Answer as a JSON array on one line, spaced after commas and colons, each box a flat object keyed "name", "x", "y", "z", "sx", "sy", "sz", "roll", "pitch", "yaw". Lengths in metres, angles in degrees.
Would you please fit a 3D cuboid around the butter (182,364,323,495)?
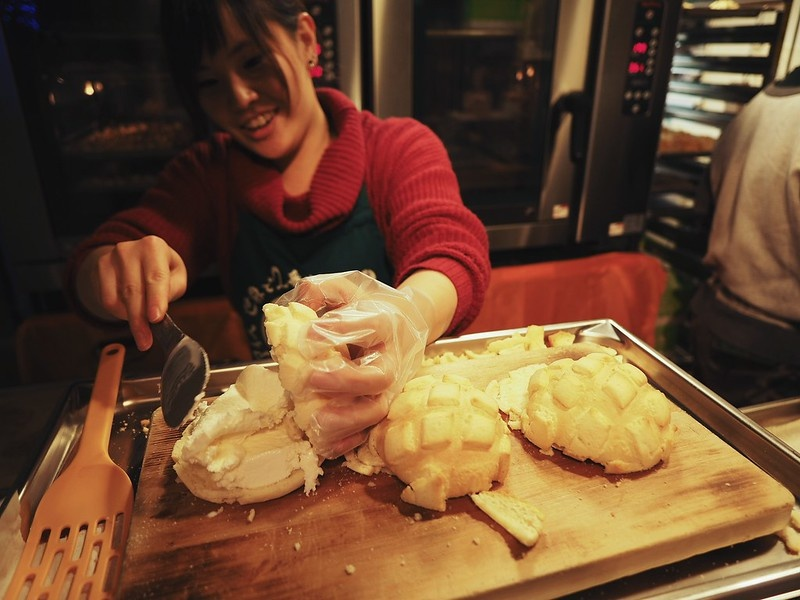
[{"name": "butter", "x": -0.353, "y": 0.289, "z": 1.424, "sx": 0.323, "sy": 0.141, "sz": 0.394, "roll": -3, "pitch": 31, "yaw": -11}]

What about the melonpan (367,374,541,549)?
[{"name": "melonpan", "x": 0.121, "y": 0.347, "z": 1.322, "sx": 0.242, "sy": 0.115, "sz": 0.354, "roll": -24, "pitch": 48, "yaw": -26}]

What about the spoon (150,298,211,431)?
[{"name": "spoon", "x": -0.498, "y": 0.142, "z": 1.392, "sx": 0.037, "sy": 0.121, "sz": 0.251, "roll": 20, "pitch": 34, "yaw": -53}]

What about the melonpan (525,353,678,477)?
[{"name": "melonpan", "x": 0.455, "y": 0.270, "z": 1.423, "sx": 0.269, "sy": 0.105, "sz": 0.260, "roll": 13, "pitch": 57, "yaw": 13}]
